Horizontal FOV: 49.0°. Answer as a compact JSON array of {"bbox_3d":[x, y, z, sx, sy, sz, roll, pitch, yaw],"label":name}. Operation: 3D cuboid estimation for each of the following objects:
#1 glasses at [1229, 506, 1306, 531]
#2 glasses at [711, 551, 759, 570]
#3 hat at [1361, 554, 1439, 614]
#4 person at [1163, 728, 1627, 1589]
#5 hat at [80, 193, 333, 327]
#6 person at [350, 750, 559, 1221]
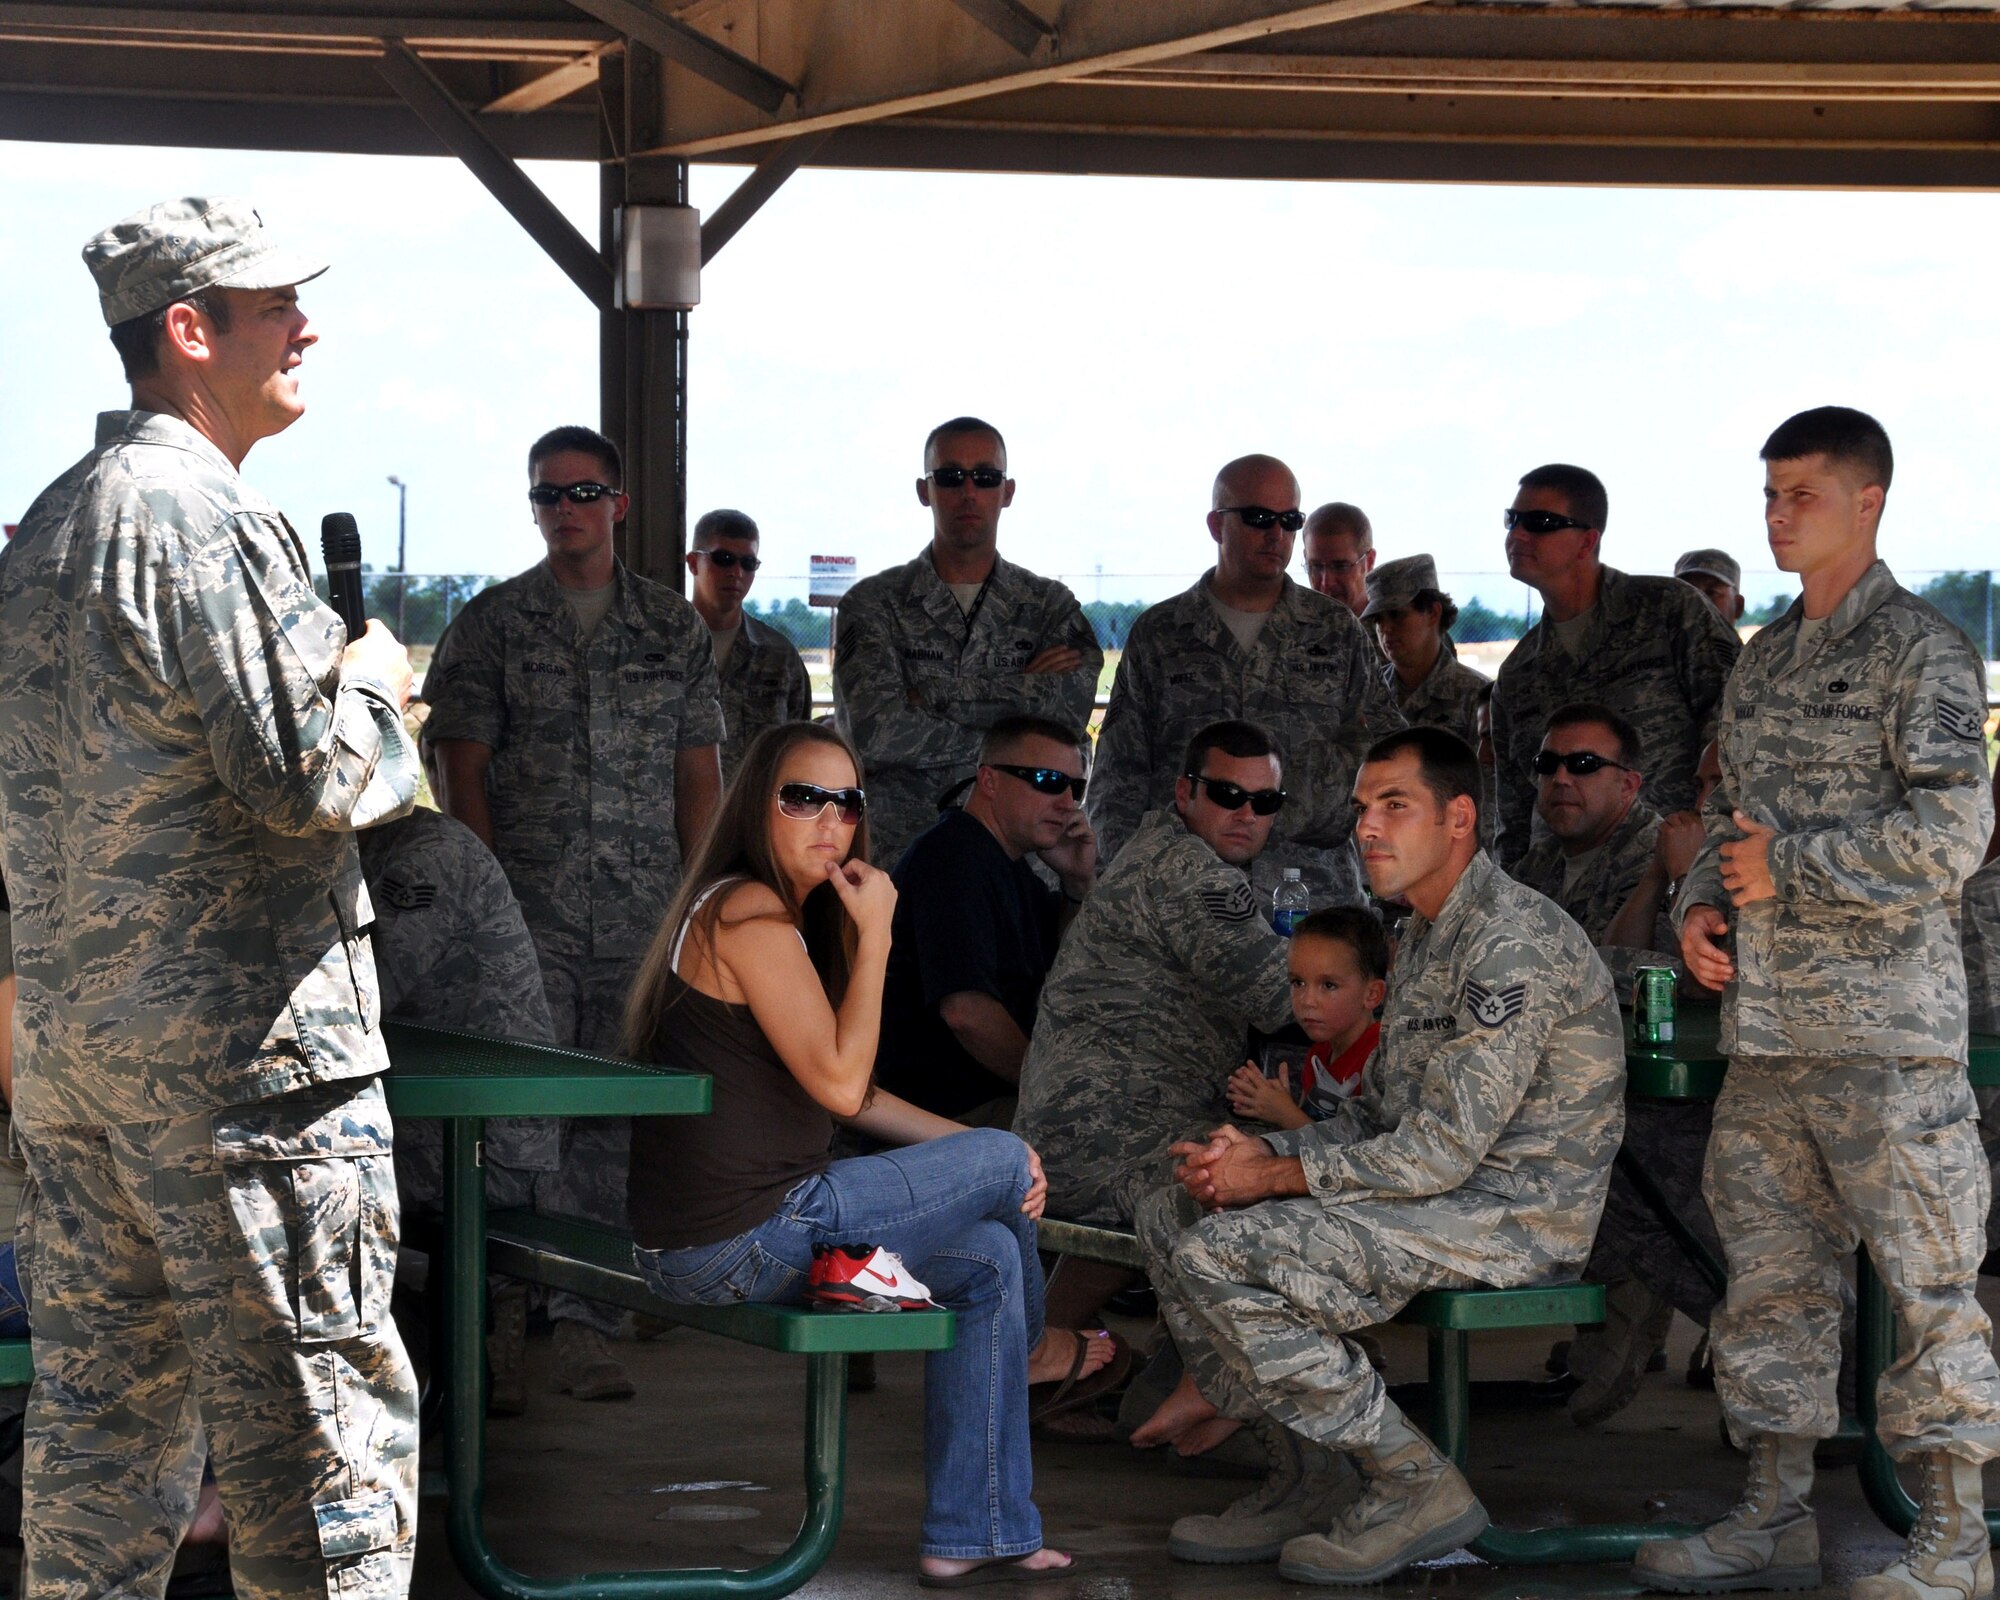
[{"bbox_3d":[0.857,-0.905,6.921,0.245,0.076,0.087,-2,-1,-23],"label":"glasses"},{"bbox_3d":[-1.048,-0.957,8.569,0.106,0.026,0.097,2,-9,-25],"label":"glasses"},{"bbox_3d":[1.563,-0.864,8.653,0.250,0.140,0.289,-13,-1,-6],"label":"hat"},{"bbox_3d":[0.766,0.676,4.208,0.895,1.429,0.372,-3,-1,1],"label":"person"},{"bbox_3d":[-1.108,-0.781,3.039,0.352,0.122,0.211,-10,25,7],"label":"hat"},{"bbox_3d":[-1.224,0.272,4.765,0.411,1.031,0.309,-11,49,-16],"label":"person"}]
